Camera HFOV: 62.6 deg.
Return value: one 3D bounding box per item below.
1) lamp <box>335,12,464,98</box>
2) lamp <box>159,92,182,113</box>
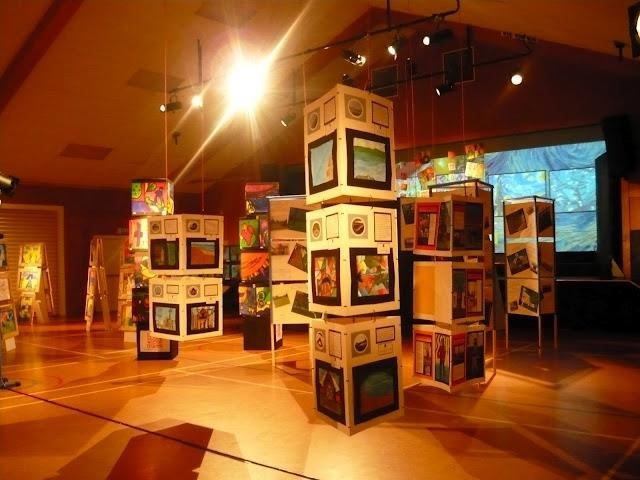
[{"bbox_3d":[1.749,-3.906,11.013,2.305,1.865,1.350,-20,38,-14],"label":"lamp"},{"bbox_3d":[-2.933,-2.713,10.293,0.511,0.513,0.200,0,-1,4],"label":"lamp"}]
